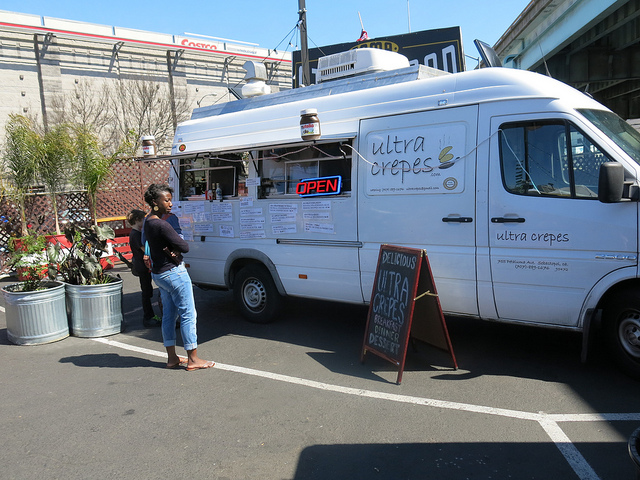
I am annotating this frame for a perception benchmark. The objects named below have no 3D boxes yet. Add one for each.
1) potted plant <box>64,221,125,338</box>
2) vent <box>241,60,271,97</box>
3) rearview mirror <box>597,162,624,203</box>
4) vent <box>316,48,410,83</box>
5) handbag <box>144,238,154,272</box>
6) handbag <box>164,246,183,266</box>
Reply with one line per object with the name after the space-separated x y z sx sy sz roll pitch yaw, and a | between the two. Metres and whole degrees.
-3.806 0.653 8.134 0.806 1.845 0.853 -3 1 33 | potted plant
-1.290 -3.129 9.604 0.512 0.591 0.509 4 10 35 | vent
3.300 -0.636 5.569 0.256 0.450 0.191 6 16 30 | rearview mirror
0.616 -3.049 8.591 1.504 0.521 1.004 2 15 15 | vent
-2.289 0.245 6.550 0.104 0.353 0.236 -4 9 -30 | handbag
-1.892 0.203 6.377 0.102 0.253 0.245 5 16 26 | handbag
